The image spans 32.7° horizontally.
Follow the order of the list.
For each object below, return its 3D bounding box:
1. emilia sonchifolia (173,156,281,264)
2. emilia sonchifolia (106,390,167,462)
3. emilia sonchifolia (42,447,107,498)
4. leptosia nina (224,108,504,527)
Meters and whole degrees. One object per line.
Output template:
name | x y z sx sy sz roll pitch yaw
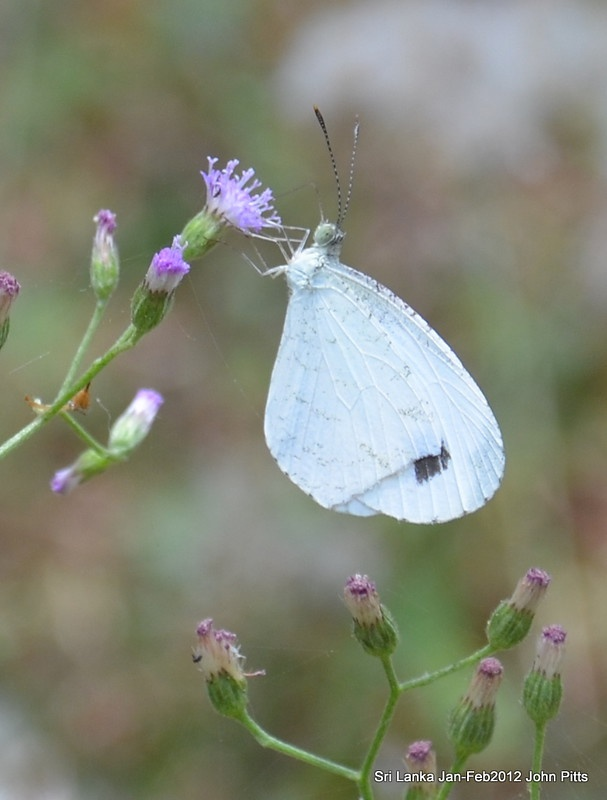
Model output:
emilia sonchifolia | -0.244 -0.464 2.764 0.325 0.207 0.266 -31 -10 26
emilia sonchifolia | -0.414 0.051 2.544 0.100 0.105 0.305 -4 16 3
emilia sonchifolia | -0.519 0.169 2.411 0.135 0.103 0.074 -11 16 -18
leptosia nina | 0.226 -0.086 2.955 0.656 0.851 0.270 -2 16 12
